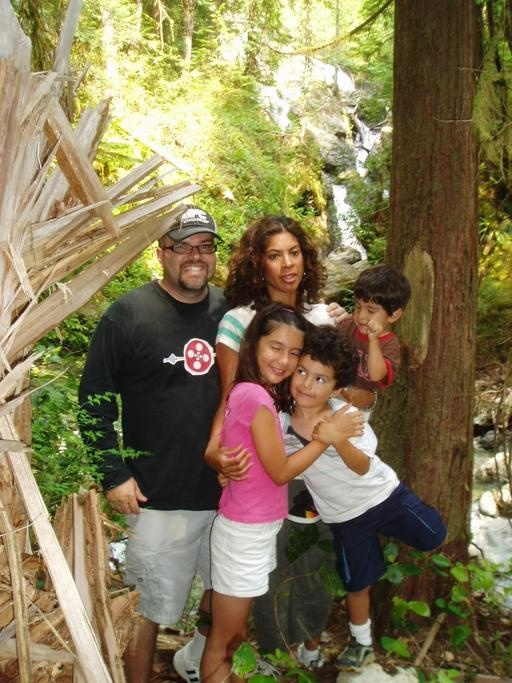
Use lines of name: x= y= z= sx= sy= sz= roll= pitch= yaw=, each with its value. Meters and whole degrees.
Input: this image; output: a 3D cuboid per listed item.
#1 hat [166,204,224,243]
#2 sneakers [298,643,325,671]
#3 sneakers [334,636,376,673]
hat: x=-0.291 y=-0.527 z=2.736 sx=0.205 sy=0.133 sz=0.263 roll=12 pitch=7 yaw=-25
sneakers: x=0.289 y=1.616 z=3.072 sx=0.086 sy=0.094 sz=0.161 roll=-4 pitch=18 yaw=-18
sneakers: x=0.493 y=1.539 z=2.956 sx=0.227 sy=0.125 sz=0.119 roll=-1 pitch=3 yaw=-40
